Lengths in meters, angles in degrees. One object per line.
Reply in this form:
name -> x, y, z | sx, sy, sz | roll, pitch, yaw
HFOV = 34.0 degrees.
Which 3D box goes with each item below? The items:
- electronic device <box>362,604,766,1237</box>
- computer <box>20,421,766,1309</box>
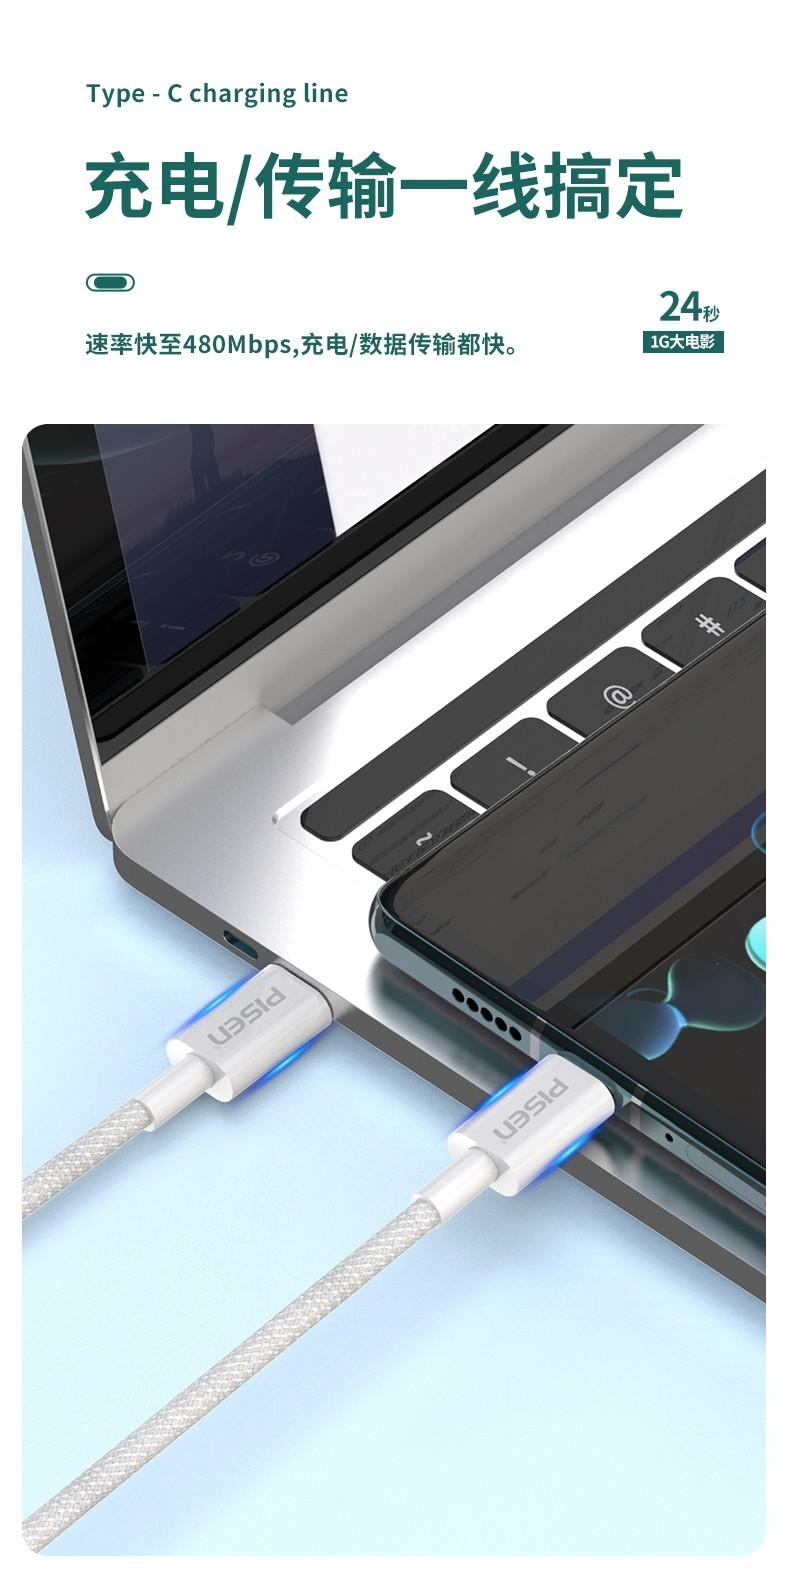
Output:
electronic device -> 0.113, 0.066, 0.700 | 0.175, 0.277, 0.230 | -8, -2, 24
computer -> 0.069, 0.053, 0.809 | 0.407, 0.333, 0.440 | -34, 53, -24
